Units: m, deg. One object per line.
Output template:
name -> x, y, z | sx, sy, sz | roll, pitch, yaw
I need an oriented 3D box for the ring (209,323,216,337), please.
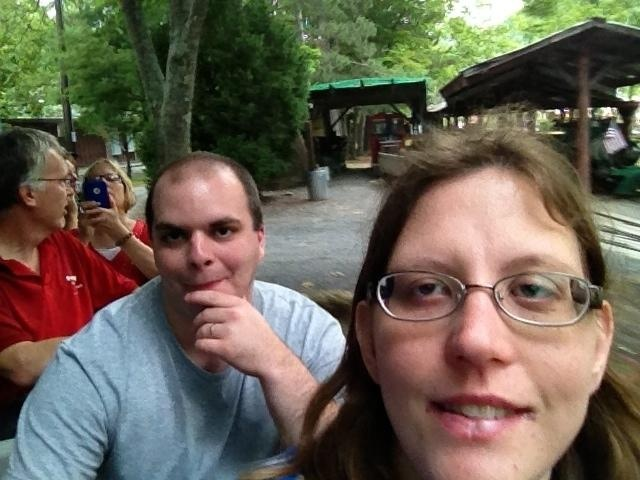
ring -> -0.363, 0.299, 1.748 | 0.011, 0.035, 0.027 | -4, 13, -1

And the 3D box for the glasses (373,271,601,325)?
glasses -> 0.368, 0.128, 1.187 | 0.480, 0.111, 0.099 | 0, 10, 8

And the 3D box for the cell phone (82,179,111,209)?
cell phone -> -1.589, -0.315, 3.710 | 0.137, 0.027, 0.230 | 11, 42, -33
